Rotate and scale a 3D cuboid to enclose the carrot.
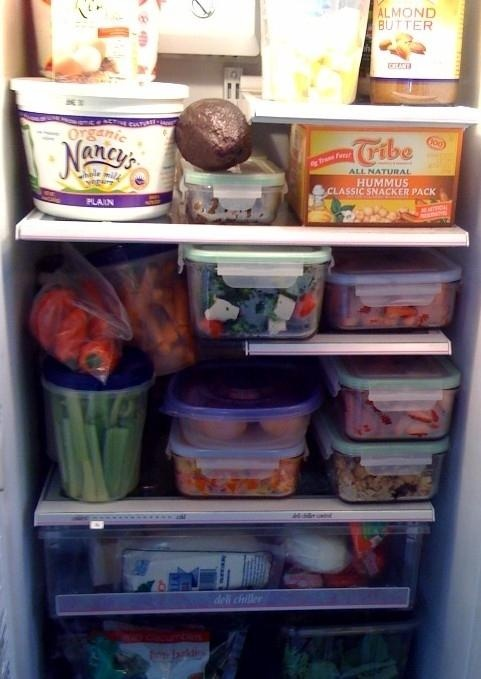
[{"bbox_3d":[-0.145,-0.053,1.047,0.110,0.162,0.116,-9,21,-13],"label":"carrot"}]

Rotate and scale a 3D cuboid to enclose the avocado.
[{"bbox_3d":[-0.041,-0.283,0.821,0.096,0.099,0.101,-11,26,-3],"label":"avocado"}]

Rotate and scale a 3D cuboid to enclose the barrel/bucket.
[{"bbox_3d":[-0.174,-0.252,0.771,0.256,0.191,0.197,-9,31,-12],"label":"barrel/bucket"}]

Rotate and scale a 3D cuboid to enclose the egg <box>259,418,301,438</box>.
[{"bbox_3d":[0.070,0.145,0.958,0.047,0.021,0.041,0,9,14],"label":"egg"}]

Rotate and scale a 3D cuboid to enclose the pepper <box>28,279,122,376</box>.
[{"bbox_3d":[-0.247,-0.013,0.875,0.108,0.146,0.038,-40,-1,-12],"label":"pepper"}]
